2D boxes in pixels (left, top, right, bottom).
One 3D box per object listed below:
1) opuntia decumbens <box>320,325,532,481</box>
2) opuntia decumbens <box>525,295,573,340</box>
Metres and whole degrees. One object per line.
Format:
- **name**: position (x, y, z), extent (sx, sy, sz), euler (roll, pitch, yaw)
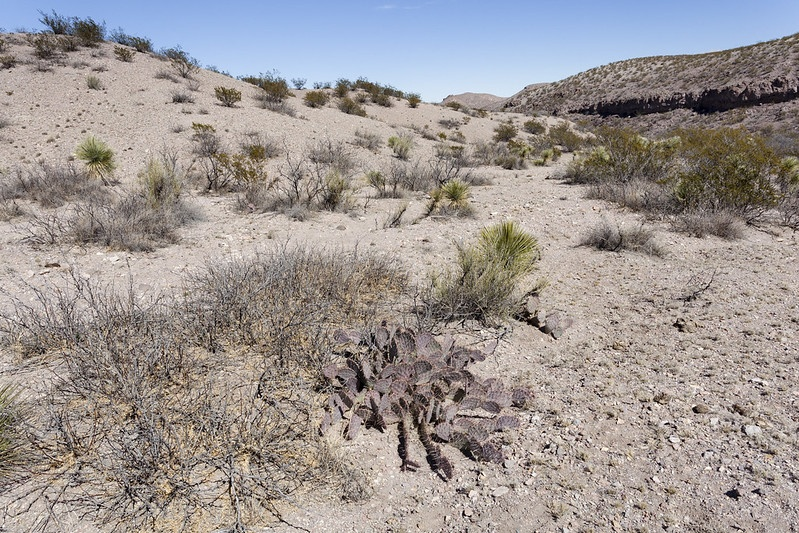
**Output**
- **opuntia decumbens**: position (0.227, 1.533, 6.198), extent (1.800, 0.434, 1.756), euler (5, 36, -27)
- **opuntia decumbens**: position (1.983, 0.671, 7.231), extent (0.489, 0.203, 0.499), euler (30, 37, 18)
